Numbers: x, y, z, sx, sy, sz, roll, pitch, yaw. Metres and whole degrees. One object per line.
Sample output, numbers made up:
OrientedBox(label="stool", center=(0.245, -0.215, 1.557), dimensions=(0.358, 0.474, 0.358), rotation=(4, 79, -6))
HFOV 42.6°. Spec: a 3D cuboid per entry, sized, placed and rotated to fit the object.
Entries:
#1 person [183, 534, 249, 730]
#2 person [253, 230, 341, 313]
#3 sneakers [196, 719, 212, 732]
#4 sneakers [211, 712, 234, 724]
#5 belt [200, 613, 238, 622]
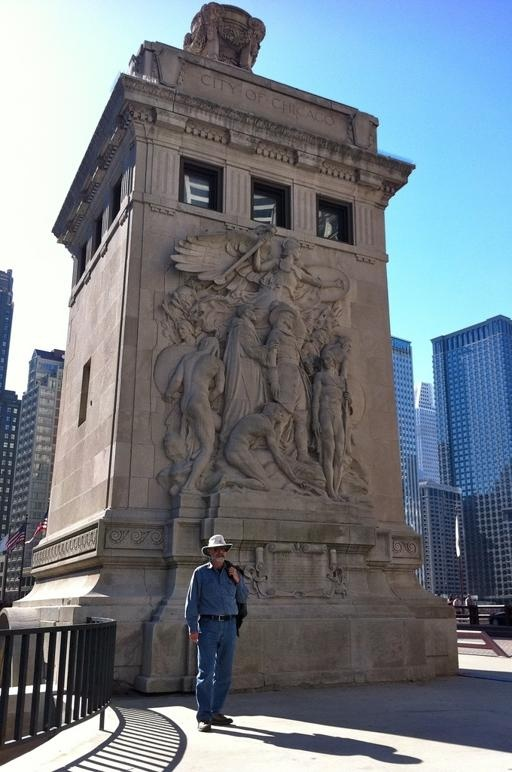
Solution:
OrientedBox(label="person", center=(-0.471, 2.680, 7.218), dimensions=(0.446, 1.997, 0.858), rotation=(-11, -19, 31))
OrientedBox(label="person", center=(0.874, -2.615, 15.246), dimensions=(0.337, 1.326, 1.933), rotation=(-22, -36, 39))
OrientedBox(label="sneakers", center=(-0.532, 3.506, 6.741), dimensions=(0.085, 0.061, 0.121), rotation=(7, 2, 34))
OrientedBox(label="sneakers", center=(-0.373, 3.639, 7.167), dimensions=(0.283, 0.125, 0.106), rotation=(4, -7, -10))
OrientedBox(label="belt", center=(-0.408, 2.578, 7.265), dimensions=(0.406, 0.075, 0.175), rotation=(2, -17, -10))
